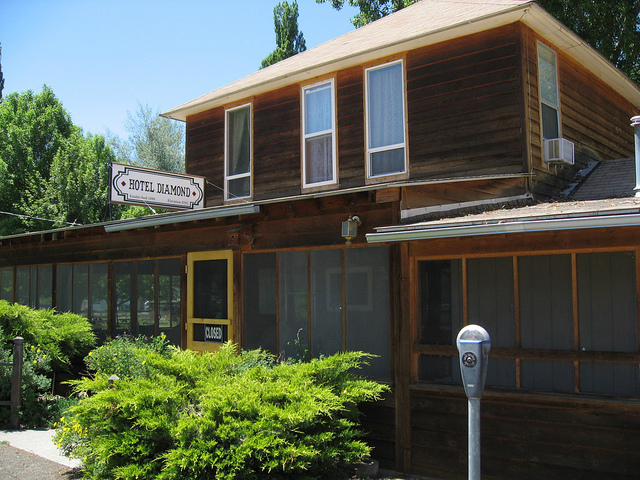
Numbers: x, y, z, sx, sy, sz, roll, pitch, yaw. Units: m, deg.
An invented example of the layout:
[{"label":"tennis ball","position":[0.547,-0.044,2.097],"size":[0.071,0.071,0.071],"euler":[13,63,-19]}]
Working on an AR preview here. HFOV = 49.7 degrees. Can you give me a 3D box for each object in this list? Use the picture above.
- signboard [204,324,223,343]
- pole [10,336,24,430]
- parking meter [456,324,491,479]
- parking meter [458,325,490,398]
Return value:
[{"label":"signboard","position":[-2.131,1.850,13.723],"size":[0.056,0.363,0.596],"euler":[7,-14,-43]},{"label":"pole","position":[-5.516,2.599,12.551],"size":[0.165,1.630,0.414],"euler":[3,-10,-25]},{"label":"parking meter","position":[1.840,1.917,8.368],"size":[0.359,1.778,0.431],"euler":[5,-4,-36]},{"label":"parking meter","position":[1.855,1.451,8.285],"size":[0.372,0.853,0.227],"euler":[-4,-10,15]}]
